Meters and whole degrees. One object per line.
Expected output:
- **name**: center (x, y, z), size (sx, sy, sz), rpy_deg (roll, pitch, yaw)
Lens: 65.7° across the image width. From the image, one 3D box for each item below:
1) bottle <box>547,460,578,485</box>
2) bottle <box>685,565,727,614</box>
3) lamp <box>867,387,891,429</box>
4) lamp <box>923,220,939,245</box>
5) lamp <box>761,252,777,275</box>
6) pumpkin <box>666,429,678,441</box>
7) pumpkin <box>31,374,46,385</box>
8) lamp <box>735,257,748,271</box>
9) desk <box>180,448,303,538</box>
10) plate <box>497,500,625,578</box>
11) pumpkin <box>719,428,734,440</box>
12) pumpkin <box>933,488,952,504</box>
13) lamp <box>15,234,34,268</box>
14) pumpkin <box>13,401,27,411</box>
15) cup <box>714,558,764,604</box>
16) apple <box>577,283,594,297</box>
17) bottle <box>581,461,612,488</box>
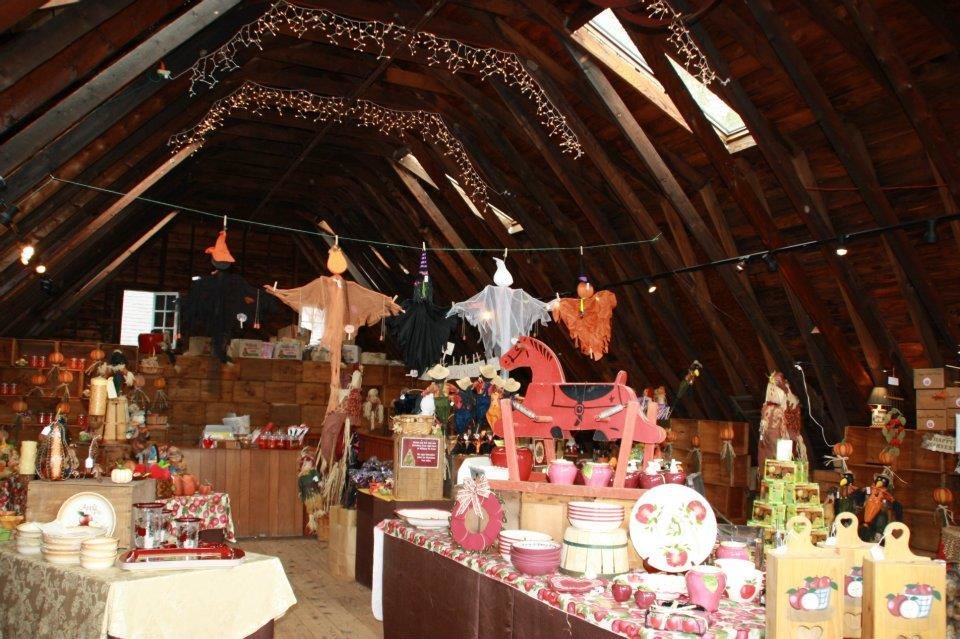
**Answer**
- **bottle**: center (0.439, 0.812, 3.996), size (0.139, 0.120, 0.133), rpy_deg (0, -1, 13)
- **bottle**: center (0.996, 1.202, 3.317), size (0.199, 0.175, 0.196), rpy_deg (-1, -9, 40)
- **lamp**: center (3.924, 0.860, 7.310), size (0.180, 0.365, 0.427), rpy_deg (-5, -14, 27)
- **lamp**: center (3.558, -0.690, 5.881), size (0.089, 0.185, 0.145), rpy_deg (-7, -15, 33)
- **lamp**: center (2.634, -0.510, 6.770), size (0.122, 0.165, 0.273), rpy_deg (-3, -13, 22)
- **pumpkin**: center (2.330, 1.394, 9.035), size (0.134, 0.166, 0.153), rpy_deg (-1, -13, 14)
- **pumpkin**: center (-5.723, 0.780, 9.674), size (0.154, 0.123, 0.147), rpy_deg (1, -6, 4)
- **lamp**: center (2.446, -0.516, 6.992), size (0.094, 0.120, 0.122), rpy_deg (5, -3, 24)
- **desk**: center (-2.587, 1.883, 8.348), size (1.248, 0.707, 1.190), rpy_deg (2, 1, 5)
- **plate**: center (0.419, 1.072, 3.743), size (0.618, 0.274, 0.326), rpy_deg (1, -5, 15)
- **pumpkin**: center (2.805, 1.287, 8.446), size (0.144, 0.139, 0.065), rpy_deg (-2, -14, 16)
- **pumpkin**: center (4.433, 1.673, 7.162), size (0.161, 0.195, 0.159), rpy_deg (2, 1, 39)
- **lamp**: center (-3.973, -0.615, 6.486), size (0.170, 0.269, 0.089), rpy_deg (2, -5, 4)
- **pumpkin**: center (-5.987, 1.121, 9.693), size (0.142, 0.128, 0.135), rpy_deg (1, -2, -4)
- **cup**: center (1.186, 1.189, 3.406), size (0.208, 0.134, 0.179), rpy_deg (0, -6, 7)
- **apple**: center (0.874, -0.271, 6.276), size (0.135, 0.124, 0.144), rpy_deg (-3, -37, -1)
- **bottle**: center (0.610, 0.819, 3.937), size (0.138, 0.110, 0.125), rpy_deg (1, -9, 4)
